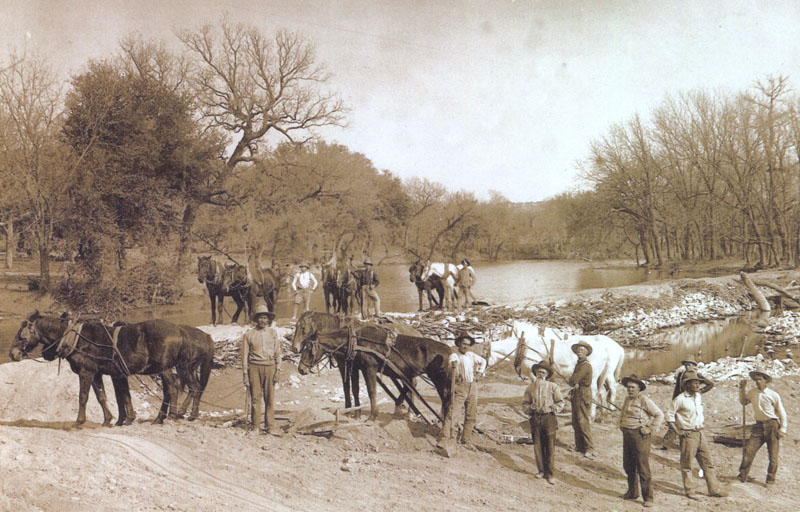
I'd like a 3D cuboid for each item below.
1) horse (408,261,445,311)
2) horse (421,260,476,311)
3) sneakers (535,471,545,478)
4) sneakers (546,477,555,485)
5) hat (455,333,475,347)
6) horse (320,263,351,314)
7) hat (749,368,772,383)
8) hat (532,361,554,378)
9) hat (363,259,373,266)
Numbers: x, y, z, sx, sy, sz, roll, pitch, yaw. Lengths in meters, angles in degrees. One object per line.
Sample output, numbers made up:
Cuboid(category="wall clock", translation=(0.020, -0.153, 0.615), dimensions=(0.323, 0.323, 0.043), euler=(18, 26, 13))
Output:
Cuboid(category="horse", translation=(1.618, 1.697, 44.446), dimensions=(1.641, 2.754, 2.912), euler=(-2, -7, 8))
Cuboid(category="horse", translation=(2.451, 1.712, 44.156), dimensions=(1.033, 2.442, 3.324), euler=(-1, -1, 35))
Cuboid(category="sneakers", translation=(5.175, 8.105, 29.649), dimensions=(0.251, 0.258, 0.084), euler=(-41, 15, 16))
Cuboid(category="sneakers", translation=(5.550, 8.290, 29.515), dimensions=(0.212, 0.217, 0.214), euler=(-9, 18, -36))
Cuboid(category="hat", translation=(2.449, 3.173, 30.318), dimensions=(0.603, 0.484, 0.572), euler=(-3, -7, 16))
Cuboid(category="horse", translation=(-3.078, 1.661, 40.144), dimensions=(1.408, 2.503, 2.689), euler=(-1, -7, -5))
Cuboid(category="hat", translation=(13.468, 4.551, 30.138), dimensions=(0.650, 0.450, 0.625), euler=(-4, -7, 19))
Cuboid(category="hat", translation=(5.380, 4.297, 30.225), dimensions=(0.651, 0.273, 0.803), euler=(7, -46, 13))
Cuboid(category="hat", translation=(-1.547, 0.282, 39.822), dimensions=(0.355, 0.197, 0.367), euler=(1, -12, 13))
